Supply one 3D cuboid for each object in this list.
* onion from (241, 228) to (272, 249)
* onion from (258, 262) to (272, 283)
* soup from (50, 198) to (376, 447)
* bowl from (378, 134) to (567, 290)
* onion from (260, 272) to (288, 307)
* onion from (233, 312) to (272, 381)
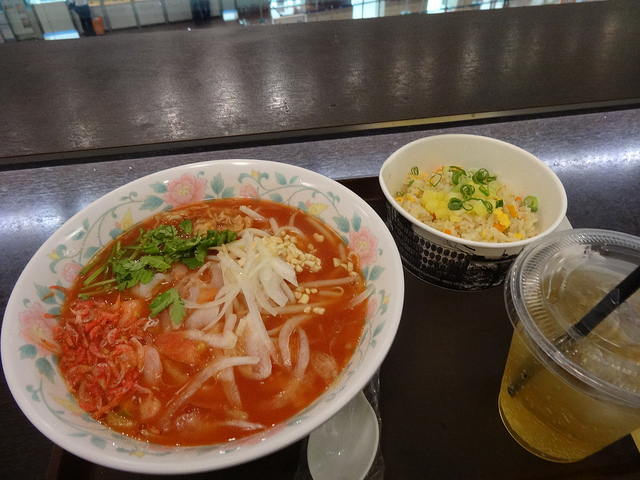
[{"bbox_3d":[-0.324,-0.018,2.376,0.126,0.046,0.090,-17,60,-33],"label":"onion"},{"bbox_3d":[-0.262,0.153,2.227,0.044,0.021,0.090,9,47,12],"label":"onion"},{"bbox_3d":[-0.519,0.363,2.138,1.039,0.259,1.032,32,59,31],"label":"soup"},{"bbox_3d":[0.799,-0.114,2.531,0.862,0.436,0.849,2,42,-2],"label":"bowl"},{"bbox_3d":[-0.217,0.227,2.206,0.142,0.045,0.095,44,61,1],"label":"onion"},{"bbox_3d":[-0.299,0.474,2.062,0.174,0.106,0.219,31,25,-24],"label":"onion"}]
